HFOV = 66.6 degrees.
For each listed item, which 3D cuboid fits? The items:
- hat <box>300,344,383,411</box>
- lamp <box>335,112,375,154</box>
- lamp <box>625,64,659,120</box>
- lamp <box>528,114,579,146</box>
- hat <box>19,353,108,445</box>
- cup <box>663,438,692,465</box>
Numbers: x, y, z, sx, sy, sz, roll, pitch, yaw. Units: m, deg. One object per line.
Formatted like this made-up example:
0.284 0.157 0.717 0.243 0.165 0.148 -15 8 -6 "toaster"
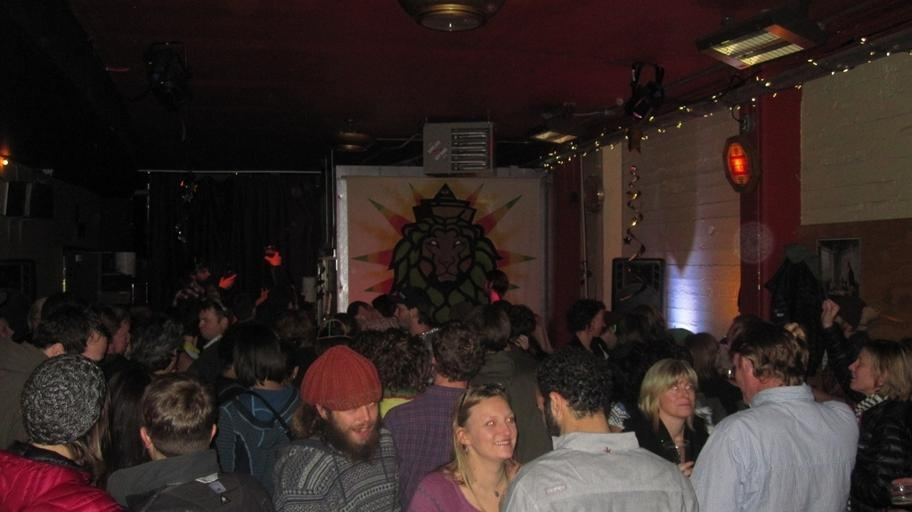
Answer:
-0.855 0.922 5.247 0.502 0.292 0.474 -1 1 -4 "hat"
-1.409 -1.632 9.510 0.466 0.433 0.137 -1 35 -3 "lamp"
2.020 -1.778 7.562 0.401 0.563 0.773 -2 -9 11 "lamp"
1.422 -1.788 9.520 0.580 0.239 0.927 1 -9 -12 "lamp"
-2.745 0.997 4.839 0.518 0.611 0.183 3 -9 -22 "hat"
1.829 1.614 5.707 0.168 0.210 0.082 13 -14 -14 "cup"
